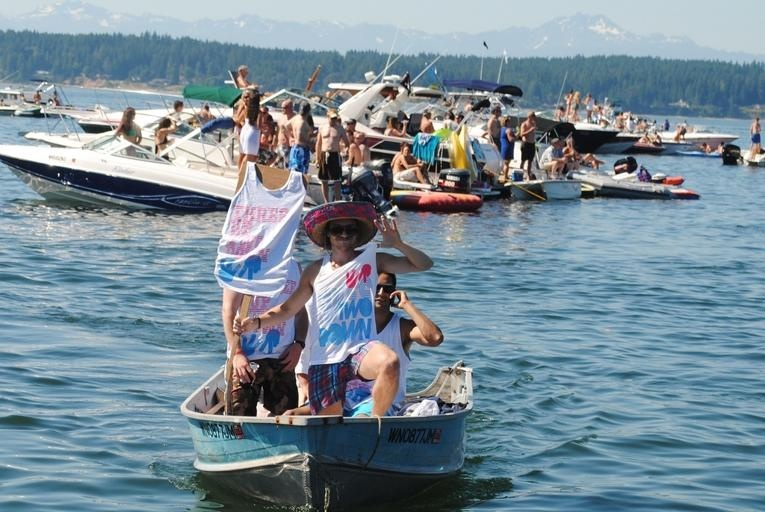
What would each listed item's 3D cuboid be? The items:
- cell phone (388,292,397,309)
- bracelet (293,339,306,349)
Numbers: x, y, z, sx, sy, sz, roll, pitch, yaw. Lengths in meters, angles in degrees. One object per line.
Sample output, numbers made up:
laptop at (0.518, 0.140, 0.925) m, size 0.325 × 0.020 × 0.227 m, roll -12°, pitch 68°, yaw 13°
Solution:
cell phone at (0.149, 0.578, 16.163) m, size 0.121 × 0.150 × 0.043 m, roll 3°, pitch -1°, yaw -31°
bracelet at (-1.067, 1.152, 16.287) m, size 0.128 × 0.084 × 0.136 m, roll -16°, pitch -40°, yaw 30°
